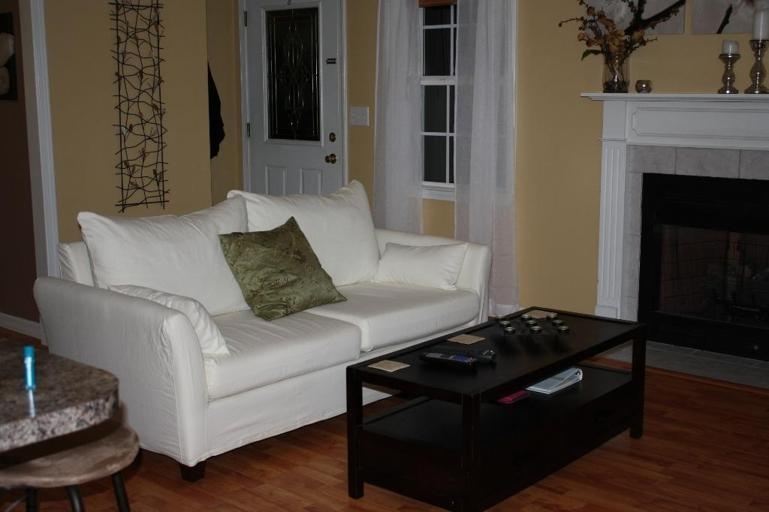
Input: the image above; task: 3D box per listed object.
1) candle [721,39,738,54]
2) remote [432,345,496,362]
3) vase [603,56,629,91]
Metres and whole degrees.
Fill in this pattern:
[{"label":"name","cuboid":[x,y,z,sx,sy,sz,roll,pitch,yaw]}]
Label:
[{"label":"candle","cuboid":[2.260,-1.366,3.976,0.091,0.088,0.095,8,16,23]},{"label":"remote","cuboid":[0.379,0.457,2.892,0.192,0.044,0.119,3,8,14]},{"label":"vase","cuboid":[1.662,-1.302,4.359,0.172,0.255,0.123,2,14,18]}]
